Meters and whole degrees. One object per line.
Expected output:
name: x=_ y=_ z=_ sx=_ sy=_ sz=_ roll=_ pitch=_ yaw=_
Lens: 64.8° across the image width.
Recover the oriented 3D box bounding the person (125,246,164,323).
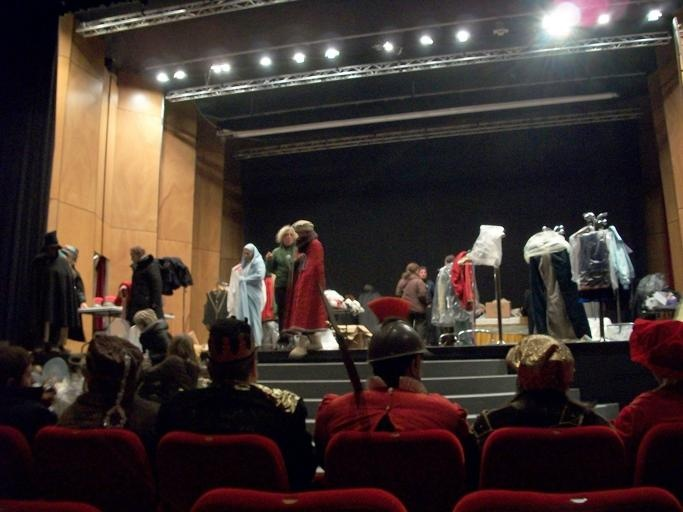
person: x=-2.418 y=0.343 z=6.604 sx=0.465 sy=0.946 sz=0.373 roll=-2 pitch=-7 yaw=-9

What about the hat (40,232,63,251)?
hat: x=-3.212 y=-0.165 z=5.966 sx=0.182 sy=0.143 sz=0.183 roll=-2 pitch=5 yaw=-17

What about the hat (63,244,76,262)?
hat: x=-3.291 y=-0.039 z=6.427 sx=0.143 sy=0.188 sz=0.191 roll=4 pitch=18 yaw=-6

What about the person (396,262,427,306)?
person: x=1.152 y=0.499 z=8.674 sx=0.500 sy=0.774 sz=0.422 roll=-1 pitch=-4 yaw=42

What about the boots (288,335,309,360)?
boots: x=-0.471 y=1.001 z=5.889 sx=0.126 sy=0.279 sz=0.281 roll=-9 pitch=-32 yaw=22

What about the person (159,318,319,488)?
person: x=-0.508 y=0.689 z=2.484 sx=0.790 sy=0.752 sz=0.437 roll=0 pitch=-5 yaw=2

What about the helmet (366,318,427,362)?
helmet: x=0.247 y=0.370 z=2.442 sx=0.216 sy=0.122 sz=0.172 roll=0 pitch=-3 yaw=-39

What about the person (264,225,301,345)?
person: x=-0.676 y=0.304 z=6.335 sx=0.423 sy=1.268 sz=0.355 roll=-5 pitch=-9 yaw=26

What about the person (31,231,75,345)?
person: x=-3.249 y=0.392 z=5.994 sx=0.361 sy=1.278 sz=0.479 roll=-4 pitch=-7 yaw=10

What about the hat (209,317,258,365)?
hat: x=-0.496 y=0.390 z=2.481 sx=0.195 sy=0.154 sz=0.197 roll=1 pitch=2 yaw=-3

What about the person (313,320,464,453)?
person: x=0.220 y=0.615 z=2.422 sx=0.732 sy=0.673 sz=0.359 roll=-5 pitch=-27 yaw=16

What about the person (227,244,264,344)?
person: x=-1.239 y=0.534 z=6.977 sx=0.469 sy=1.305 sz=0.392 roll=0 pitch=6 yaw=-22
